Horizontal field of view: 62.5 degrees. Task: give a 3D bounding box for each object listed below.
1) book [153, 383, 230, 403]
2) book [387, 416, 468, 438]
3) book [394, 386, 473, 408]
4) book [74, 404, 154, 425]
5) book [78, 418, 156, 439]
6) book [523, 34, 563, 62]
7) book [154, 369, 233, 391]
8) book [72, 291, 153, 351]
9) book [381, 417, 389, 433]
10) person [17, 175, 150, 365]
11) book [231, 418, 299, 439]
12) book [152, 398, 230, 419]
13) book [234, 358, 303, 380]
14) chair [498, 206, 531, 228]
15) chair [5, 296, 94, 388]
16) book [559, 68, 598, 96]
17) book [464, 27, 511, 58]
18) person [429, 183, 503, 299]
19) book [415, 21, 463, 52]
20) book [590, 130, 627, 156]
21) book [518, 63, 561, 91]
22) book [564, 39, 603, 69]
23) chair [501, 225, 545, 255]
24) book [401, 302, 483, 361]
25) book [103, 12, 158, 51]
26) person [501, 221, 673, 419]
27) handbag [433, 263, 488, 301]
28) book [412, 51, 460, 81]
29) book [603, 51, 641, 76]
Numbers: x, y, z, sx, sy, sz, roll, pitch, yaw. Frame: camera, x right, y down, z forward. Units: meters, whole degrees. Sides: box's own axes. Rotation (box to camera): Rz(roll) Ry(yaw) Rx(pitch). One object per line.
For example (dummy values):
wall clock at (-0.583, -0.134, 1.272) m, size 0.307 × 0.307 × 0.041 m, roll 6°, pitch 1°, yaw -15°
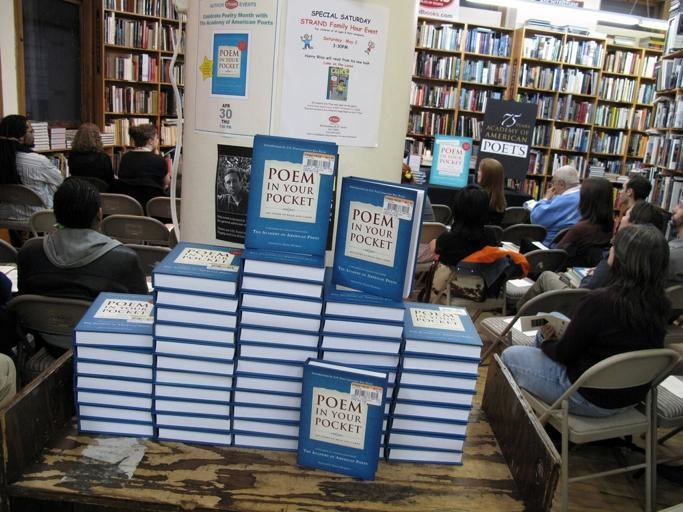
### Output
book at (-0.479, 0.439, 1.790) m, size 0.115 × 0.023 × 0.112 m, roll 4°, pitch -2°, yaw 3°
book at (0.283, 0.549, 1.805) m, size 0.122 × 0.029 × 0.121 m, roll 2°, pitch 0°, yaw 3°
book at (0.307, 0.449, 1.795) m, size 0.125 × 0.029 × 0.122 m, roll 2°, pitch 0°, yaw 5°
book at (-0.737, 0.507, 1.802) m, size 0.115 × 0.026 × 0.111 m, roll 2°, pitch 2°, yaw -5°
book at (-0.746, 0.557, 1.811) m, size 0.120 × 0.027 × 0.116 m, roll 2°, pitch 2°, yaw -4°
book at (2.986, -3.107, 8.363) m, size 0.410 × 0.370 × 0.220 m, roll 7°, pitch 0°, yaw 4°
book at (-0.483, 0.392, 1.781) m, size 0.122 × 0.028 × 0.118 m, roll 3°, pitch 3°, yaw -8°
book at (-0.724, 0.213, 1.868) m, size 0.254 × 0.117 × 0.237 m, roll 5°, pitch 12°, yaw -2°
book at (0.135, 0.544, 1.790) m, size 0.012 × 0.047 × 0.048 m, roll 9°, pitch -6°, yaw -12°
person at (-1.227, 0.067, 2.739) m, size 0.595 × 0.906 × 0.519 m, roll 5°, pitch 30°, yaw -2°
book at (-0.254, 0.553, 1.806) m, size 0.109 × 0.025 × 0.107 m, roll 2°, pitch -1°, yaw 4°
book at (-0.481, 0.485, 1.796) m, size 0.114 × 0.025 × 0.111 m, roll 3°, pitch -3°, yaw 6°
book at (-0.225, 0.357, 1.779) m, size 0.109 × 0.025 × 0.107 m, roll 4°, pitch 2°, yaw 6°
chair at (1.788, -0.406, 5.829) m, size 0.217 × 0.274 × 0.220 m, roll -1°, pitch 24°, yaw -5°
chair at (-1.168, 0.327, 2.225) m, size 0.346 × 0.423 × 0.276 m, roll 5°, pitch 29°, yaw -13°
book at (3.643, -2.677, 8.620) m, size 0.627 × 0.355 × 0.118 m, roll 2°, pitch 13°, yaw -14°
book at (2.190, -3.186, 8.341) m, size 0.740 × 0.382 × 0.125 m, roll 1°, pitch 13°, yaw -20°
person at (0.862, -0.053, 4.043) m, size 0.459 × 0.927 × 0.307 m, roll 9°, pitch 13°, yaw 15°
book at (1.419, -3.158, 8.311) m, size 0.742 × 0.230 × 0.575 m, roll 2°, pitch 9°, yaw -17°
book at (4.287, -1.774, 9.173) m, size 0.586 × 0.508 × 0.363 m, roll 1°, pitch 6°, yaw -2°
book at (3.012, -2.674, 8.652) m, size 0.558 × 0.484 × 0.384 m, roll 5°, pitch 3°, yaw -4°
book at (3.653, -3.071, 8.490) m, size 0.626 × 0.356 × 0.107 m, roll 4°, pitch 12°, yaw -8°
chair at (1.599, -0.184, 5.103) m, size 0.296 × 0.393 × 0.302 m, roll 0°, pitch 16°, yaw -2°
book at (0.320, 0.247, 1.815) m, size 0.206 × 0.046 × 0.201 m, roll 5°, pitch 21°, yaw 8°
book at (-2.778, -2.928, 7.383) m, size 0.712 × 0.369 × 0.141 m, roll -7°, pitch 18°, yaw -45°
person at (1.119, 0.274, 2.544) m, size 0.615 × 0.881 × 0.293 m, roll 12°, pitch 14°, yaw 29°
handbag at (0.899, 0.212, 4.223) m, size 0.346 × 0.342 × 0.292 m, roll 5°, pitch 8°, yaw 27°
book at (1.429, -2.836, 8.381) m, size 0.697 × 0.361 × 0.141 m, roll 2°, pitch 13°, yaw -13°
book at (4.316, -2.985, 8.633) m, size 0.403 × 0.363 × 0.213 m, roll 2°, pitch 1°, yaw -18°
